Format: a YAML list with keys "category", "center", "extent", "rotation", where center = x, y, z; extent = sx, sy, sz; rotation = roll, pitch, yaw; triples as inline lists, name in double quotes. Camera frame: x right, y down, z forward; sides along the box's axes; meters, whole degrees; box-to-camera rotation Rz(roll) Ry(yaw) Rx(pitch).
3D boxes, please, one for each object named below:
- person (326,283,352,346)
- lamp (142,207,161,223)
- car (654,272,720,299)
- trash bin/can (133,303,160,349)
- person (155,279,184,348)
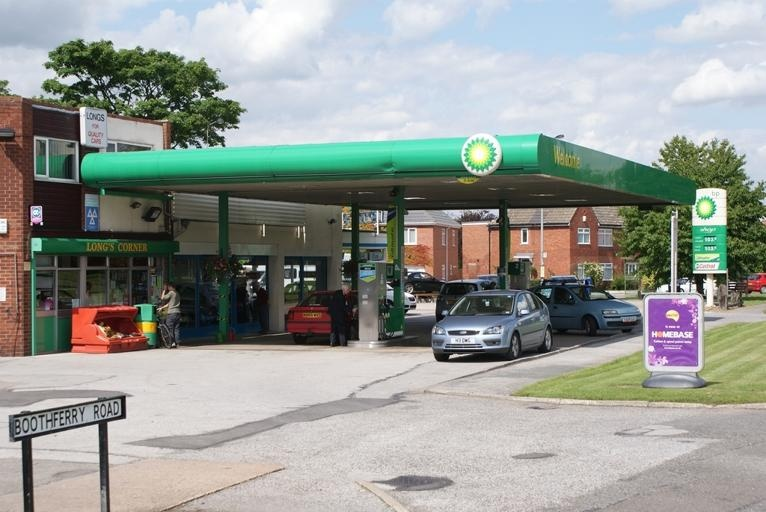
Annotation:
- category: "person"
  center: [-1.422, 1.974, 27.738]
  extent: [0.691, 1.967, 1.356]
  rotation: [-2, -4, -3]
- category: "lamp"
  center: [-7.991, -1.429, 29.199]
  extent: [0.128, 0.502, 0.553]
  rotation: [30, 4, 24]
- category: "car"
  center: [15.458, 1.426, 42.502]
  extent: [3.026, 1.365, 1.754]
  rotation: [1, -2, 4]
- category: "trash bin/can"
  center: [-7.680, 2.293, 27.592]
  extent: [0.669, 1.379, 0.333]
  rotation: [-1, -4, -15]
- category: "person"
  center: [-7.064, 1.986, 27.925]
  extent: [0.719, 2.129, 0.861]
  rotation: [-2, -3, 1]
